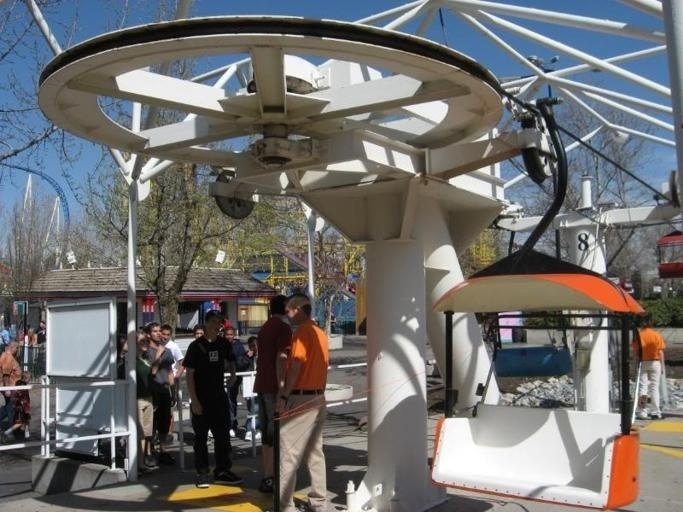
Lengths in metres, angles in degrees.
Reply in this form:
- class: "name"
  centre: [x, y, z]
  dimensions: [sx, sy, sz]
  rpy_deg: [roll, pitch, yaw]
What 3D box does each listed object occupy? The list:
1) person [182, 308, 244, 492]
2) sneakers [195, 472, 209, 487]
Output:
- class: "person"
  centre: [-1.922, 2.055, 10.739]
  dimensions: [0.826, 2.530, 0.317]
  rpy_deg: [5, -8, -35]
- class: "sneakers"
  centre: [-1.996, 3.216, 10.540]
  dimensions: [0.188, 0.213, 0.177]
  rpy_deg: [1, -7, -7]
